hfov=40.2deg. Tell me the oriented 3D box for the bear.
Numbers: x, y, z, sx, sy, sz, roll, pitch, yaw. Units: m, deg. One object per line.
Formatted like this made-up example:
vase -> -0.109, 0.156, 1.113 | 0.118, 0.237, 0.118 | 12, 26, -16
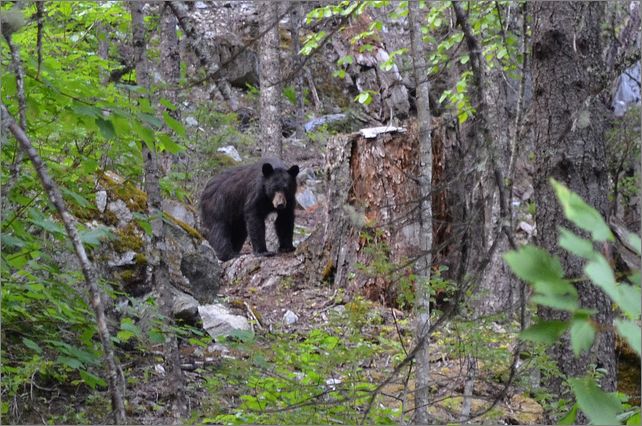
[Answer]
bear -> -1.157, -0.036, 15.328 | 2.039, 1.652, 1.015 | -6, -3, 43
